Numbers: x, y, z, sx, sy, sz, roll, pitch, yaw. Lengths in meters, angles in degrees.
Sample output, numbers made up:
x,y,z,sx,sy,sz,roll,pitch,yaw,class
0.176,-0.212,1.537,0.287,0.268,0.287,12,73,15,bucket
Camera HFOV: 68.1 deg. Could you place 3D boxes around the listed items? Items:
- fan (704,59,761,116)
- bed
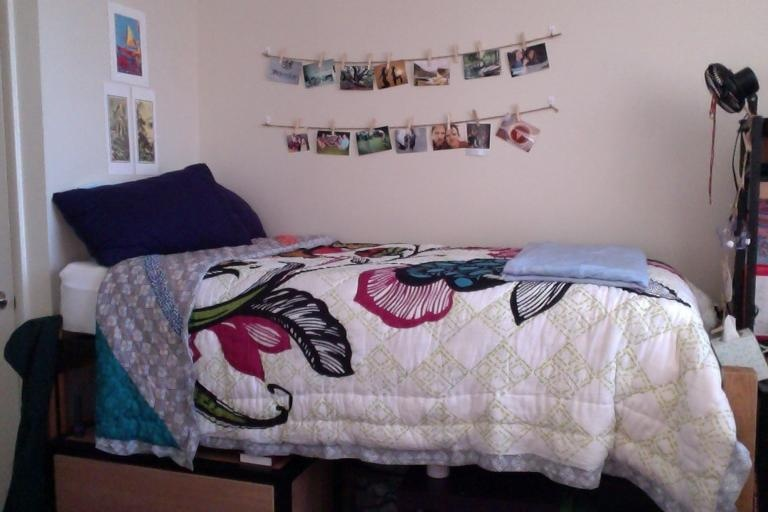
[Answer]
x,y,z,sx,sy,sz,roll,pitch,yaw,class
1.544,-0.744,2.523,0.215,0.220,0.124,-4,13,-2,fan
0.104,0.399,2.249,1.701,0.540,1.170,1,5,10,bed
